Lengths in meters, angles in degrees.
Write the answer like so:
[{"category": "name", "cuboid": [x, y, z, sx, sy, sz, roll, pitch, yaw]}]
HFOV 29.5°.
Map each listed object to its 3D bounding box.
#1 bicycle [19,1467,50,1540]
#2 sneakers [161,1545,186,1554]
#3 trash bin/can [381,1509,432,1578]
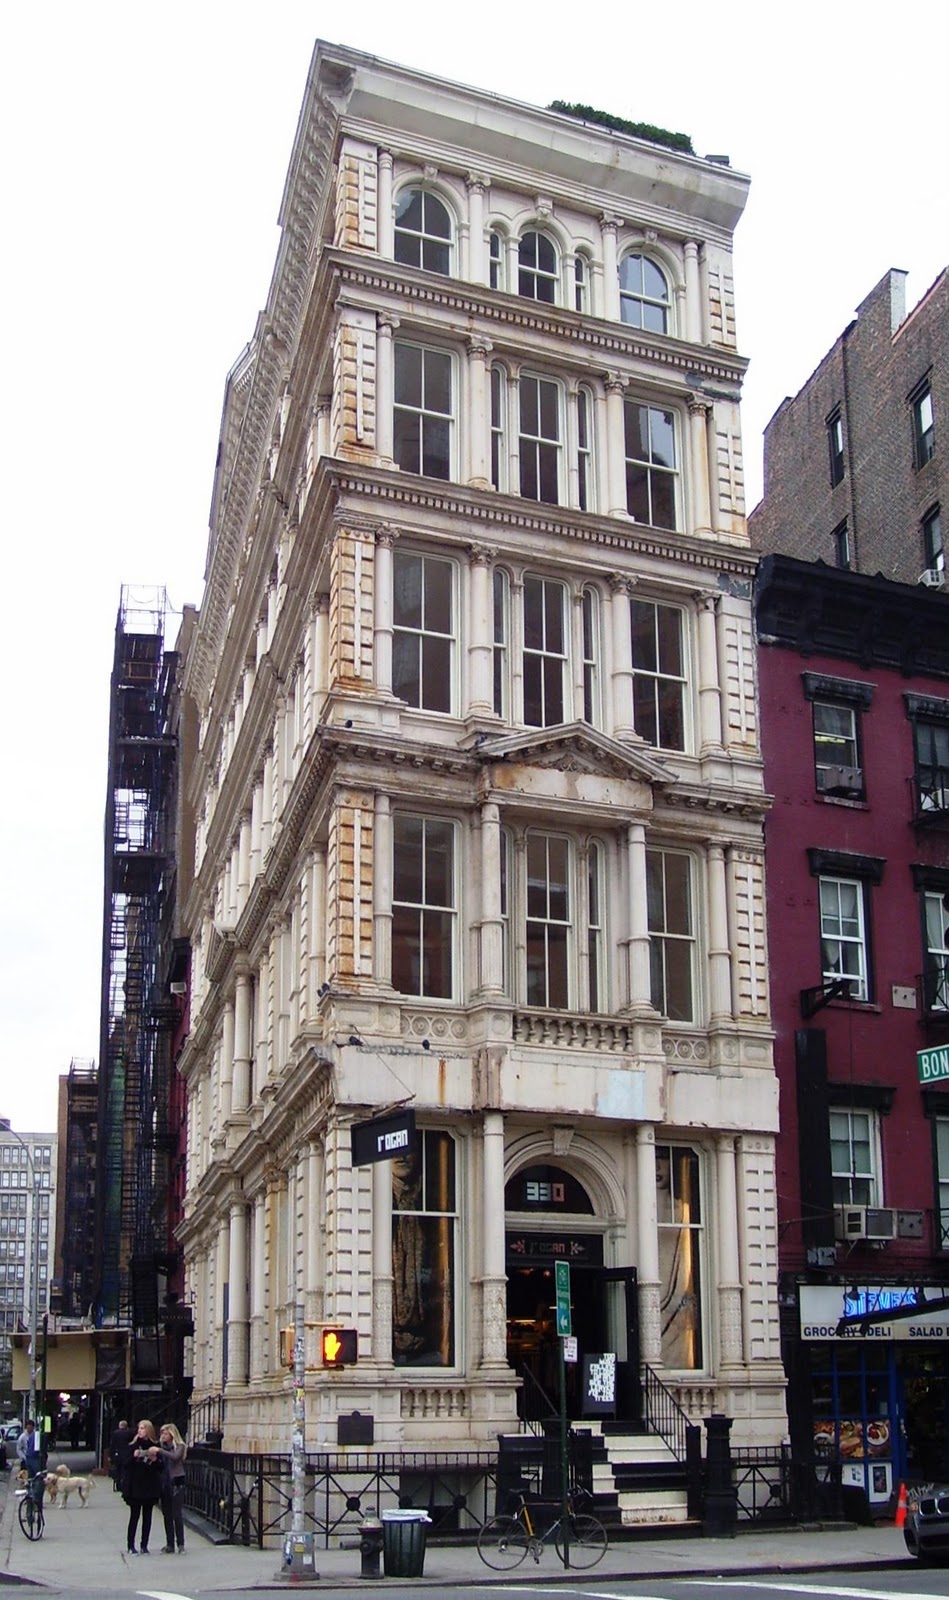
[{"category": "bicycle", "cuboid": [-6.277, 9.987, 25.413, 0.333, 0.885, 2.258, 3, -21, -13]}, {"category": "sneakers", "cuboid": [-3.799, 9.465, 22.646, 0.319, 0.148, 0.114, -1, -8, -7]}, {"category": "trash bin/can", "cuboid": [-0.747, 7.748, 18.720, 0.451, 0.612, 0.930, 0, -20, -3]}]
